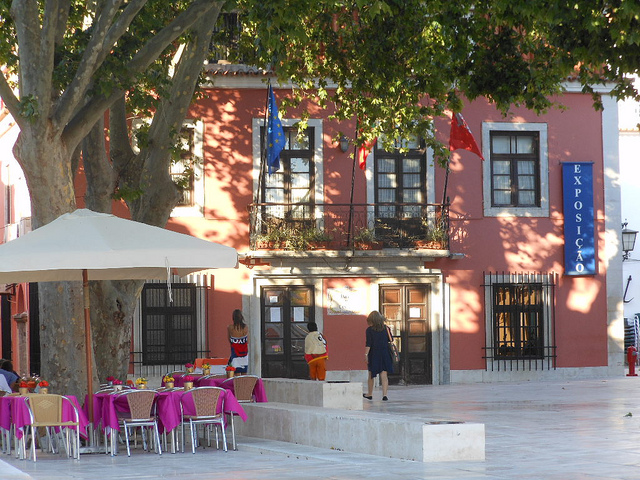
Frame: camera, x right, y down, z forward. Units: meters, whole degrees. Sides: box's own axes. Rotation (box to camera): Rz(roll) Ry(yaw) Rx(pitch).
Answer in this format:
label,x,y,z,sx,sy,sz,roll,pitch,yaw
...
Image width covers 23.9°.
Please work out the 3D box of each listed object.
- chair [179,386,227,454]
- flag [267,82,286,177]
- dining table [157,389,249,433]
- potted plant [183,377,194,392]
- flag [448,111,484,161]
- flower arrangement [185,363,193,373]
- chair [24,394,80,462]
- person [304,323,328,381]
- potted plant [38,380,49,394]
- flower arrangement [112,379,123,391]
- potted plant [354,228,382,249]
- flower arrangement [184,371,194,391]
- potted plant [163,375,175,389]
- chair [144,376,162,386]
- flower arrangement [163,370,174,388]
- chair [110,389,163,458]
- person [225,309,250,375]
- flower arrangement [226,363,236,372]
label,x,y,z,sx,sy,sz,roll,pitch,yaw
chair,-2.004,3.065,25.543,0.711,1.034,0.708,-10,-9,33
flag,-0.935,-2.375,31.376,0.314,1.680,1.044,-1,-6,-5
dining table,-2.044,2.850,25.529,1.581,0.655,1.843,-7,-15,-6
potted plant,-2.278,2.469,25.847,0.190,0.223,0.219,1,-4,13
flag,3.115,-2.257,32.658,0.704,0.954,0.483,-5,-6,26
flower arrangement,-2.462,2.386,28.312,0.116,0.148,0.139,-2,-9,15
chair,-4.404,3.081,24.628,0.810,1.187,0.873,0,-7,-15
person,-0.085,2.321,31.594,0.444,1.170,0.487,-2,-6,2
potted plant,-4.640,2.477,25.413,0.192,0.292,0.178,6,-8,-44
flower arrangement,-3.517,2.507,26.158,0.142,0.161,0.151,0,-1,15
potted plant,1.083,-0.038,34.327,0.440,0.357,0.471,1,-6,-4
flower arrangement,-2.202,2.433,25.858,0.156,0.288,0.205,1,-11,-3
potted plant,-2.627,2.491,26.482,0.231,0.236,0.217,6,-8,-37
chair,-3.715,3.127,33.534,0.353,0.221,0.274,-1,-7,-15
flower arrangement,-2.637,2.481,26.493,0.207,0.266,0.204,6,-8,-39
chair,-3.040,3.058,25.240,0.771,1.120,0.795,-1,-6,-7
person,-1.606,1.979,29.326,0.367,1.251,0.516,-1,-6,-5
flower arrangement,-1.651,2.351,27.894,0.210,0.145,0.221,1,-4,32
